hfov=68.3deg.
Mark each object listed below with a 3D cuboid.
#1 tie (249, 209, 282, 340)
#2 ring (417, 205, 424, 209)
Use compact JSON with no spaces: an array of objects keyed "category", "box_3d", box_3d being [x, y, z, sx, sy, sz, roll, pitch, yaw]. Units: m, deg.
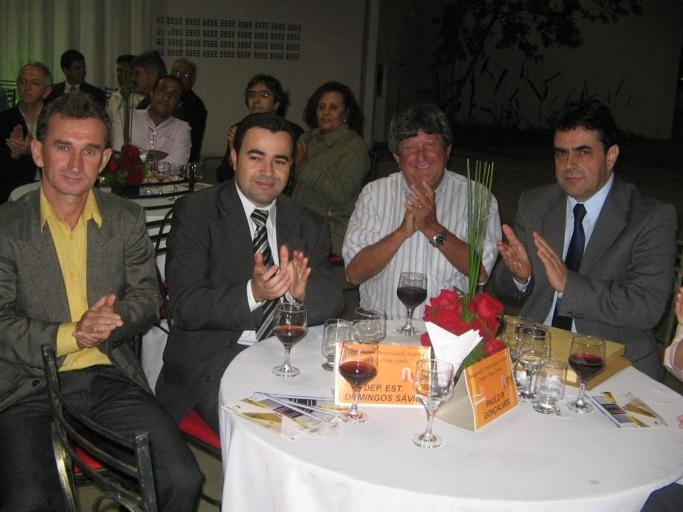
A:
[{"category":"tie","box_3d":[-0.352,0.026,2.288,0.132,0.683,0.168,-4,-10,0]},{"category":"ring","box_3d":[0.399,-0.247,2.522,0.018,0.018,0.019,4,-4,0]}]
